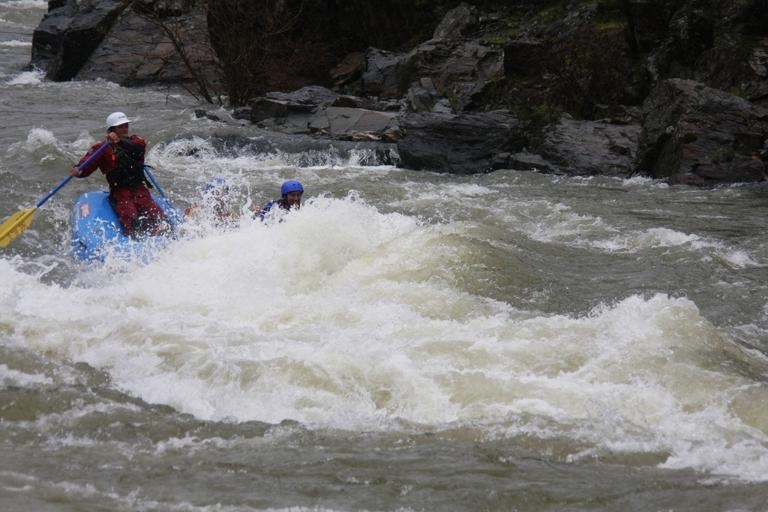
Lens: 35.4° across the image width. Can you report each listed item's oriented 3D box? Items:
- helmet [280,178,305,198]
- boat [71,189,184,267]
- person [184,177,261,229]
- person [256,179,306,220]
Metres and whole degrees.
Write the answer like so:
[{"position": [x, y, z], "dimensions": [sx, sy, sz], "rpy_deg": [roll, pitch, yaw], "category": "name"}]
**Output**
[{"position": [-2.066, -1.490, 26.059], "dimensions": [0.533, 0.329, 0.416], "rpy_deg": [0, 1, 26], "category": "helmet"}, {"position": [-5.967, -0.661, 25.198], "dimensions": [1.980, 0.581, 1.677], "rpy_deg": [-3, 52, -25], "category": "boat"}, {"position": [-3.626, -1.082, 26.362], "dimensions": [1.510, 1.007, 1.672], "rpy_deg": [-16, 15, -43], "category": "person"}, {"position": [-2.111, -1.273, 26.412], "dimensions": [0.797, 0.547, 1.298], "rpy_deg": [4, -16, -33], "category": "person"}]
